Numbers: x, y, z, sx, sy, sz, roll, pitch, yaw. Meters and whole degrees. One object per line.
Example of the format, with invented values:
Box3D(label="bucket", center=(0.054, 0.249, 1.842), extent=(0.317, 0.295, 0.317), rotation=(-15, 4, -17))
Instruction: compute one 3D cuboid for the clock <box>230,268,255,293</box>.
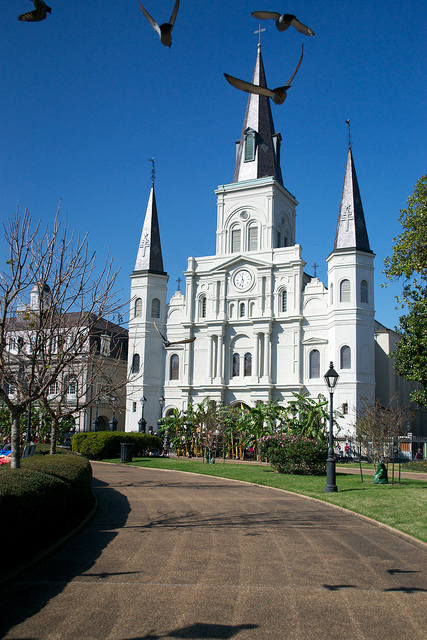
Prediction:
Box3D(label="clock", center=(2.217, -2.870, 50.602), extent=(1.482, 1.537, 0.114), rotation=(19, -1, 36))

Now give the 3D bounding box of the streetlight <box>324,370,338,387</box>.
Box3D(label="streetlight", center=(3.571, 1.754, 20.798), extent=(0.464, 0.623, 0.458), rotation=(0, -7, 6))

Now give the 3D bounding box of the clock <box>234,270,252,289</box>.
Box3D(label="clock", center=(2.146, -2.983, 50.663), extent=(1.433, 1.439, 0.152), rotation=(-5, -12, 40))
